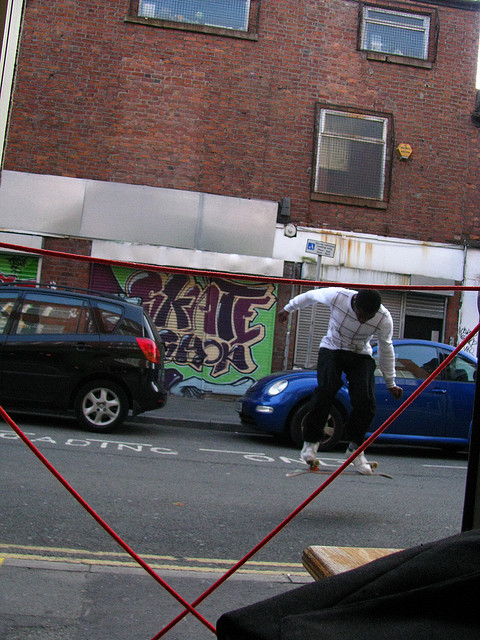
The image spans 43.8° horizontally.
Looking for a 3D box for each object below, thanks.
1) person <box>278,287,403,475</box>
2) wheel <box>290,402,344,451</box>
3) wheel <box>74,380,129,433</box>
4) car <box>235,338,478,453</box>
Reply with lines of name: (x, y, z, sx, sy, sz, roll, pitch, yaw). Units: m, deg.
person: (0.812, 0.482, 4.955, 0.892, 1.489, 0.691, 8, 5, 14)
wheel: (0.948, 1.360, 7.408, 0.661, 0.624, 0.348, 7, 5, 9)
wheel: (-1.702, 1.098, 7.538, 0.753, 0.626, 0.242, -4, -6, 19)
car: (1.568, 0.933, 8.046, 3.337, 1.238, 1.454, 4, -4, -3)
